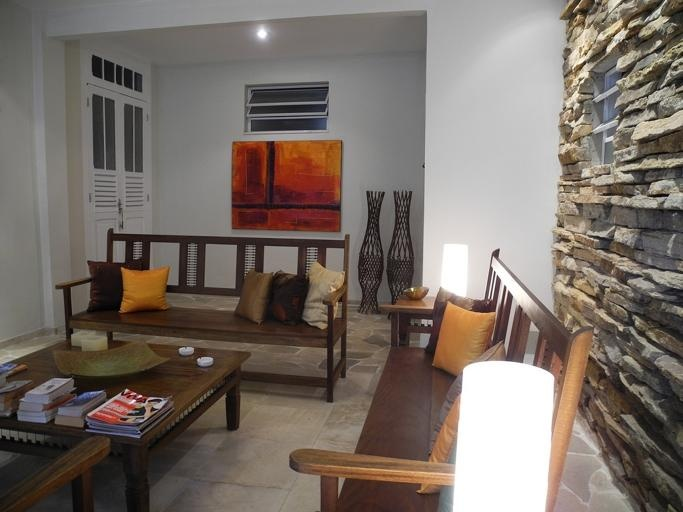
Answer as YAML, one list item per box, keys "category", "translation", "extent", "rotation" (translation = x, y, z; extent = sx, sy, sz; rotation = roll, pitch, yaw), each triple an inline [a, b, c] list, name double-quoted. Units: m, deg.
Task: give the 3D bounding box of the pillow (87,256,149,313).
- category: "pillow"
  translation: [-2.002, 0.268, 4.369]
  extent: [0.461, 0.482, 0.165]
  rotation: [1, -5, -40]

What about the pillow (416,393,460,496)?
- category: "pillow"
  translation: [0.430, 0.847, 2.151]
  extent: [0.100, 0.396, 0.324]
  rotation: [18, 2, 13]

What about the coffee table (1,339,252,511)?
- category: "coffee table"
  translation: [-1.119, 0.883, 2.980]
  extent: [0.916, 0.405, 0.962]
  rotation: [2, 5, 16]

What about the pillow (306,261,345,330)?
- category: "pillow"
  translation: [-0.142, 0.344, 4.065]
  extent: [0.264, 0.470, 0.487]
  rotation: [-17, 13, -35]

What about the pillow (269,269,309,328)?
- category: "pillow"
  translation: [-0.440, 0.375, 4.052]
  extent: [0.213, 0.446, 0.345]
  rotation: [23, -15, -30]

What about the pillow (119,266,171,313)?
- category: "pillow"
  translation: [-1.784, 0.305, 4.349]
  extent: [0.360, 0.385, 0.138]
  rotation: [-1, -3, -17]

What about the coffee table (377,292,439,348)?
- category: "coffee table"
  translation: [0.617, 0.635, 4.416]
  extent: [0.509, 0.546, 0.537]
  rotation: [0, 3, 6]

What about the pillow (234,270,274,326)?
- category: "pillow"
  translation: [-0.735, 0.334, 4.183]
  extent: [0.247, 0.395, 0.400]
  rotation: [-8, 14, -37]

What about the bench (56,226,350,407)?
- category: "bench"
  translation: [-1.188, 0.450, 4.248]
  extent: [2.361, 1.390, 0.809]
  rotation: [2, 7, 9]
